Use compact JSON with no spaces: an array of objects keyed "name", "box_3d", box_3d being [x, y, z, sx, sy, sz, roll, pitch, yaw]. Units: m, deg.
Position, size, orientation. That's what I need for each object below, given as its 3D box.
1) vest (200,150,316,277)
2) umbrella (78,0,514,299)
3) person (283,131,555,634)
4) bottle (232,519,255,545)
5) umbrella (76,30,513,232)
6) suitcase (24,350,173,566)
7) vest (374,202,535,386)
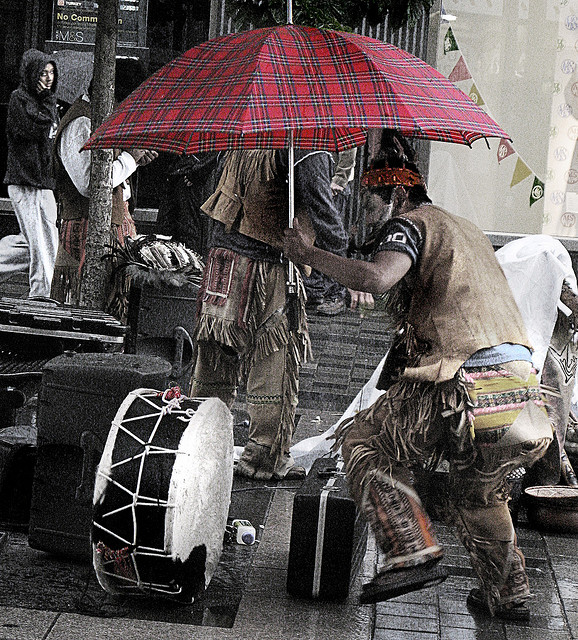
[{"name":"vest","box_3d":[-0.180,-0.649,4.347,0.449,0.606,0.344,16,5,9]},{"name":"umbrella","box_3d":[0.019,-0.781,3.217,1.294,1.174,1.422,-1,6,1]},{"name":"person","box_3d":[0.487,0.195,2.918,0.808,1.649,0.546,4,4,11]},{"name":"bottle","box_3d":[-0.190,0.879,3.589,0.094,0.085,0.098,4,4,-5]},{"name":"umbrella","box_3d":[-0.008,-0.786,3.346,1.400,0.823,1.612,-2,5,0]},{"name":"suitcase","box_3d":[-0.730,0.529,3.209,0.433,0.748,0.227,4,4,16]},{"name":"vest","box_3d":[0.592,-0.079,3.002,0.532,0.711,0.407,7,-15,-44]}]
